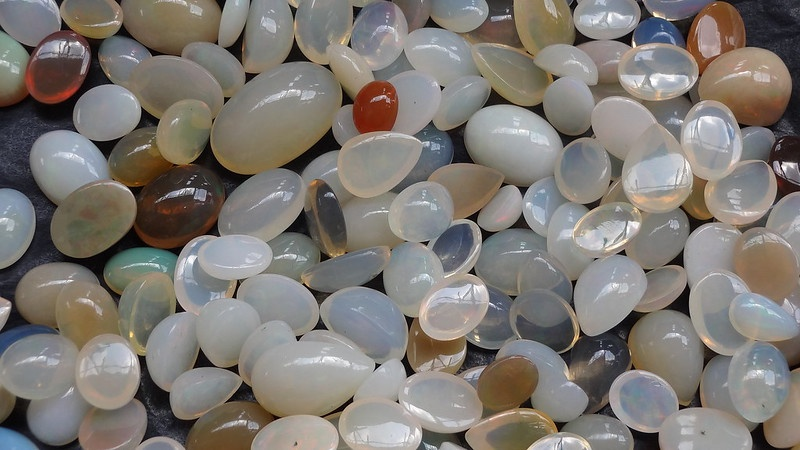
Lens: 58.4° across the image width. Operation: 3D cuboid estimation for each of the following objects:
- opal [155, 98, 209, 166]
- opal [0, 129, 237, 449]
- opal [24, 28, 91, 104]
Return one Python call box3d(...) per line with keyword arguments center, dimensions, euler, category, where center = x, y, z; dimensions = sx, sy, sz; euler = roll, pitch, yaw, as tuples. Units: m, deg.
box3d(center=(-0.440, -0.208, 1.471), dimensions=(0.096, 0.066, 0.131), euler=(35, 80, -36), category="opal")
box3d(center=(-0.568, 0.204, 1.408), dimensions=(0.399, 0.237, 0.448), euler=(16, 61, -11), category="opal")
box3d(center=(-0.686, -0.318, 1.439), dimensions=(0.102, 0.038, 0.153), euler=(29, 91, -11), category="opal")
